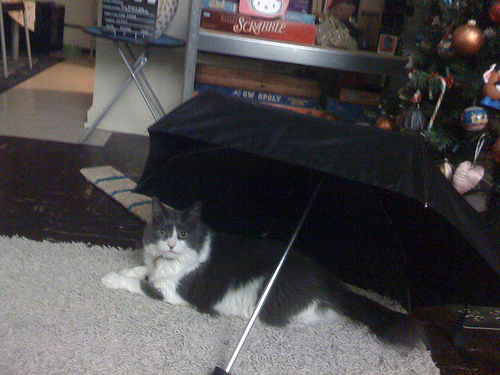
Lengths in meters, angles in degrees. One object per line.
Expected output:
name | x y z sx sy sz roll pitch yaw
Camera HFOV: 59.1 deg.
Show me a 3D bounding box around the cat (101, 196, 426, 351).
cat | 0.076 0.347 1.863 1.328 0.480 0.387 10 4 1
